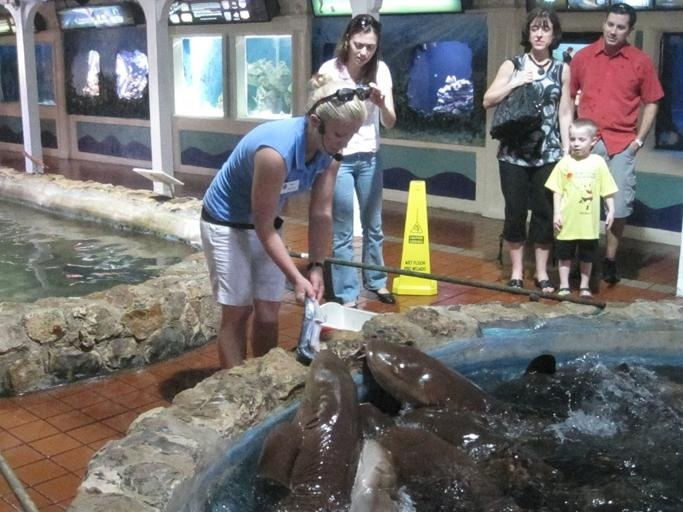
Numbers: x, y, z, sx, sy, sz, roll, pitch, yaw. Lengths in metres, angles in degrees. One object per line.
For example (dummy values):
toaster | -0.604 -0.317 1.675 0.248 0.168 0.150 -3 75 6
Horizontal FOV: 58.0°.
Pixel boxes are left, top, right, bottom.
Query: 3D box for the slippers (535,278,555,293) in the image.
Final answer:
slippers | 1.901 0.278 5.779 0.099 0.090 0.289 -2 4 -1

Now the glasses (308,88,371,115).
glasses | -0.030 -0.791 3.138 0.224 0.069 0.198 -15 10 39

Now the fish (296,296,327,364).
fish | -0.160 0.413 3.392 0.131 0.328 0.127 -12 -18 43

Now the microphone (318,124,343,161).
microphone | -0.066 -0.597 3.259 0.034 0.141 0.102 8 26 23

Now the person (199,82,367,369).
person | -0.334 -0.119 3.565 1.103 1.689 0.563 10 15 42

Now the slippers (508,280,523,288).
slippers | 1.594 0.255 5.624 0.053 0.043 0.105 4 19 29

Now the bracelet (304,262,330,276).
bracelet | -0.143 0.060 3.666 0.130 0.096 0.144 3 -3 4

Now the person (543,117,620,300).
person | 2.173 -0.446 5.624 0.610 1.574 0.467 4 12 18

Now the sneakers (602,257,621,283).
sneakers | 2.773 0.169 6.341 0.110 0.247 0.341 -6 11 -5

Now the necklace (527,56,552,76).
necklace | 1.810 -1.745 5.644 0.165 0.199 0.120 2 -20 10
